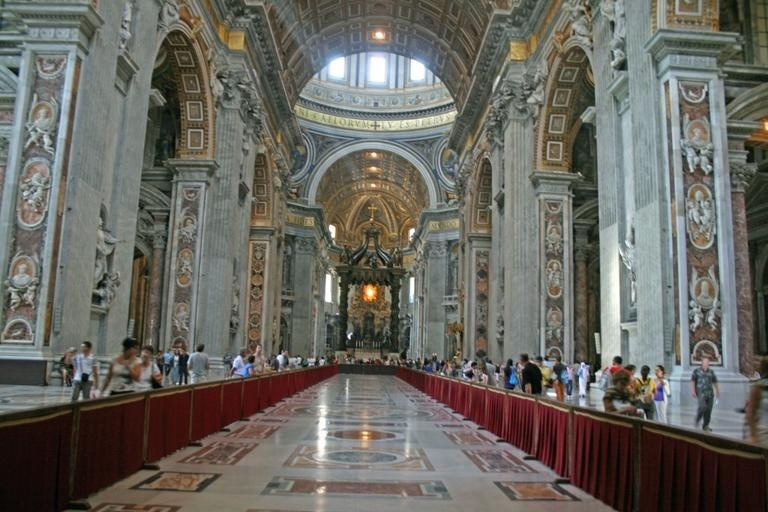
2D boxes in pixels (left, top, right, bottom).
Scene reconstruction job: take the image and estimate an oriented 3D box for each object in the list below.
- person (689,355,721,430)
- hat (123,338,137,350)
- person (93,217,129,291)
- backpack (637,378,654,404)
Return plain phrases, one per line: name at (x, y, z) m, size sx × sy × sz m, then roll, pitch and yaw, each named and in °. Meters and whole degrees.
person at (6.263, 2.606, 12.252) m, size 0.485 × 1.236 × 1.742 m, roll -1°, pitch -7°, yaw 27°
hat at (-4.164, 1.428, 10.303) m, size 0.181 × 0.217 × 0.225 m, roll 1°, pitch -1°, yaw 1°
person at (-6.455, -0.088, 14.566) m, size 0.339 × 1.781 × 0.882 m, roll 1°, pitch -6°, yaw 5°
backpack at (5.110, 2.640, 12.235) m, size 0.338 × 0.448 × 0.452 m, roll 0°, pitch -12°, yaw 6°
